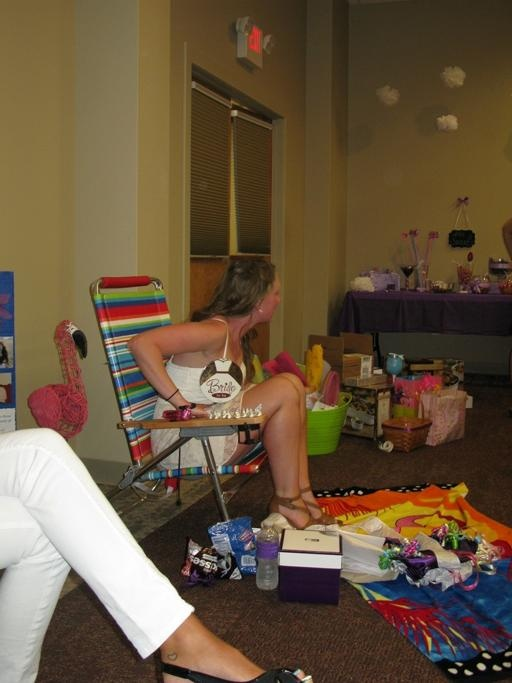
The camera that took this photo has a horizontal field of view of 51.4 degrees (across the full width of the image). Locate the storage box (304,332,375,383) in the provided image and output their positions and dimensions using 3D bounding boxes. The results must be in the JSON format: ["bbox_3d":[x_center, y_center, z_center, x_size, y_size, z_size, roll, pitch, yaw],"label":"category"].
[{"bbox_3d":[0.607,0.134,3.798,0.523,0.397,0.494,-2,3,3],"label":"storage box"}]

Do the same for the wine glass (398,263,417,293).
[{"bbox_3d":[1.593,-0.689,5.563,0.284,0.314,0.284,-1,8,2],"label":"wine glass"}]

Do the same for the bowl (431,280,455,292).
[{"bbox_3d":[1.832,-0.537,5.182,0.174,0.090,0.133,-3,2,14],"label":"bowl"}]

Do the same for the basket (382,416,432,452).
[{"bbox_3d":[0.929,0.554,3.257,0.182,0.125,0.253,0,0,41],"label":"basket"}]

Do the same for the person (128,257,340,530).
[{"bbox_3d":[-0.068,0.195,1.917,0.757,0.939,0.502,1,-1,-8],"label":"person"}]

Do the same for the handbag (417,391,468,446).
[{"bbox_3d":[1.228,0.444,3.450,0.285,0.360,0.521,4,8,36],"label":"handbag"}]

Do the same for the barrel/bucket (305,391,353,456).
[{"bbox_3d":[0.400,0.480,3.161,0.309,0.270,0.318,-1,4,0],"label":"barrel/bucket"}]

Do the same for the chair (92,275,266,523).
[{"bbox_3d":[-0.232,0.188,1.941,0.825,0.835,0.718,2,6,-19],"label":"chair"}]

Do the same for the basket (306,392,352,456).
[{"bbox_3d":[0.430,0.515,3.170,0.333,0.287,0.333,9,-20,-20],"label":"basket"}]

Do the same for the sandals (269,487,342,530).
[{"bbox_3d":[0.153,0.560,1.860,0.267,0.106,0.104,3,3,25],"label":"sandals"}]
